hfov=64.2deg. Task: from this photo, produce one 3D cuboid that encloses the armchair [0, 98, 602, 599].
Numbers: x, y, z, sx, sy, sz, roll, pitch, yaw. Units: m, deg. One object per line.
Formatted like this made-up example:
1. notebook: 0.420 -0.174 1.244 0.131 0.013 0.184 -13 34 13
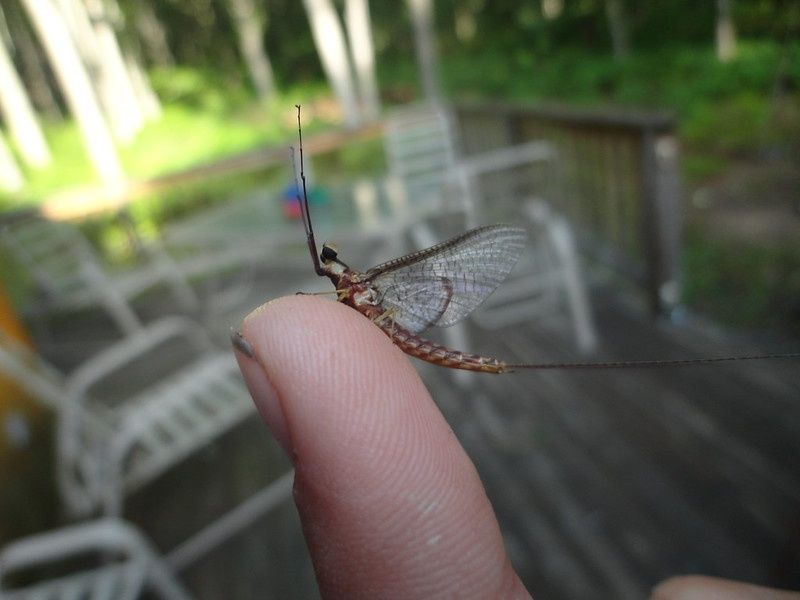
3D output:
1. armchair: -0.408 -0.027 1.705 0.967 1.440 0.763 -12 34 -19
